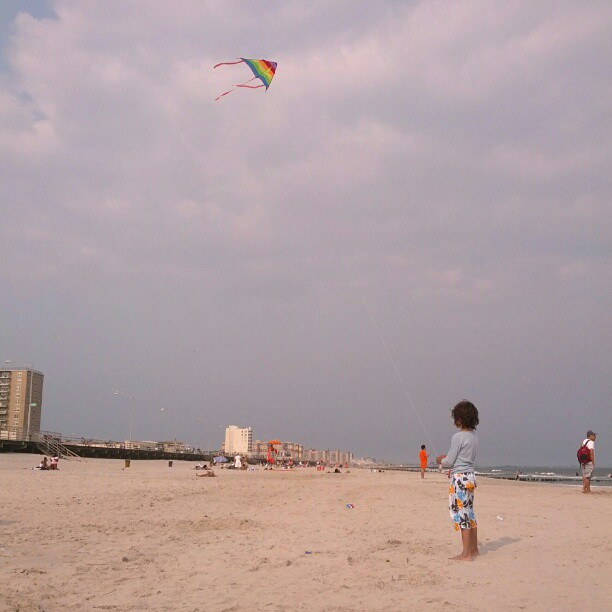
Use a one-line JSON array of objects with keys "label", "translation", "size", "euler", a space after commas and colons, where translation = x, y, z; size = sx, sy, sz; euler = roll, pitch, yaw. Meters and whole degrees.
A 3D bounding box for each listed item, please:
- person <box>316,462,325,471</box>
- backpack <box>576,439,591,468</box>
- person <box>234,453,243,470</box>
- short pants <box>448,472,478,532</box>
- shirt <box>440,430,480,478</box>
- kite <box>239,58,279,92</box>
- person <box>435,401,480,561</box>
[{"label": "person", "translation": [1.081, 11.762, 54.792], "size": [0.465, 0.698, 1.095], "euler": [3, -3, -6]}, {"label": "backpack", "translation": [6.639, 3.500, 17.950], "size": [0.288, 0.610, 0.455], "euler": [-4, -12, 20]}, {"label": "person", "translation": [-4.015, 9.282, 44.591], "size": [0.672, 0.830, 1.666], "euler": [7, -8, 0]}, {"label": "short pants", "translation": [1.997, 2.481, 9.558], "size": [0.325, 0.720, 0.331], "euler": [-2, -11, 12]}, {"label": "shirt", "translation": [1.991, 1.897, 9.646], "size": [0.423, 0.701, 0.370], "euler": [4, 1, -35]}, {"label": "kite", "translation": [-1.107, -5.651, 18.374], "size": [0.623, 0.791, 0.733], "euler": [10, -15, -42]}, {"label": "person", "translation": [1.964, 2.213, 9.548], "size": [0.463, 1.978, 0.766], "euler": [-2, -10, 12]}]
